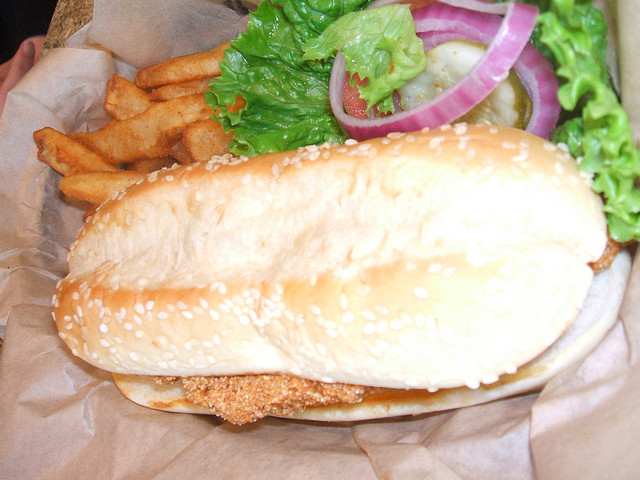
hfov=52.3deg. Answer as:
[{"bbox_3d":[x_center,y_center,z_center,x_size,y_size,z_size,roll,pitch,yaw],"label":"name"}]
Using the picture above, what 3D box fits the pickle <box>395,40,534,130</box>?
[{"bbox_3d":[0.558,-0.551,2.401,0.344,0.391,0.094,28,58,14],"label":"pickle"}]
